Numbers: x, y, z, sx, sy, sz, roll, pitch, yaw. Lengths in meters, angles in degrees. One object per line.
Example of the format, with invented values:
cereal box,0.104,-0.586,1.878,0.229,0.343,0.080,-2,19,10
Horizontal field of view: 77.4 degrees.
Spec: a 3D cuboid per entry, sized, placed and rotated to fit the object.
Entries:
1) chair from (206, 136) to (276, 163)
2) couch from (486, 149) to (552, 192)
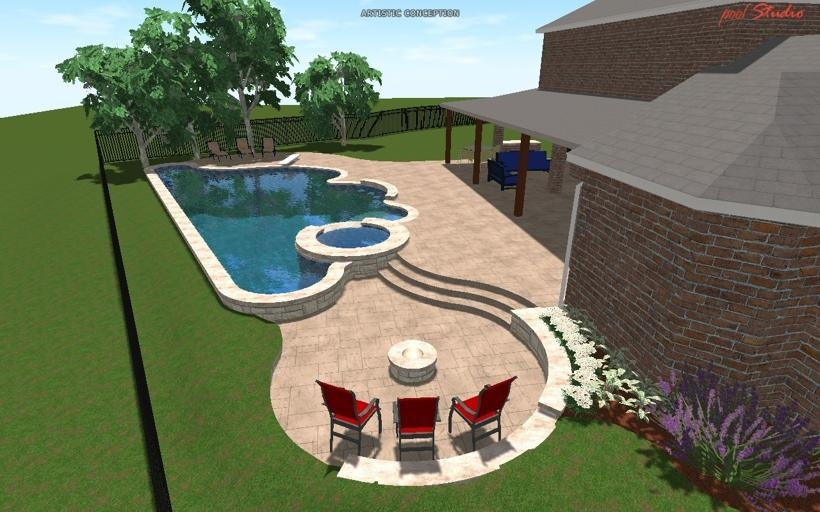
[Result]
chair,-10.415,-6.459,31.087,2.723,0.822,0.832,-7,31,-19
couch,4.981,-4.054,23.981,2.586,1.322,3.702,6,27,20
